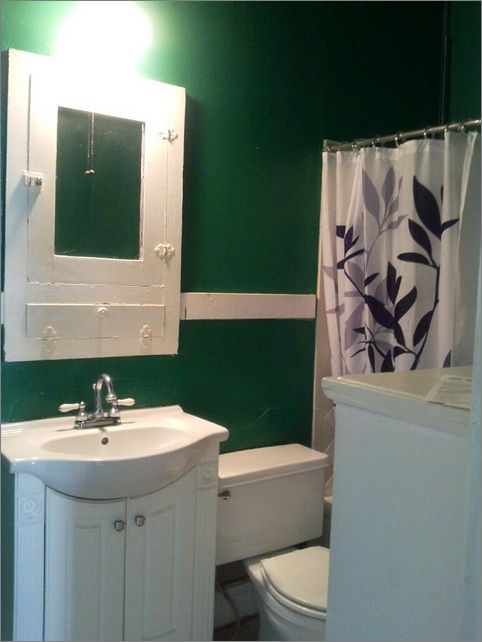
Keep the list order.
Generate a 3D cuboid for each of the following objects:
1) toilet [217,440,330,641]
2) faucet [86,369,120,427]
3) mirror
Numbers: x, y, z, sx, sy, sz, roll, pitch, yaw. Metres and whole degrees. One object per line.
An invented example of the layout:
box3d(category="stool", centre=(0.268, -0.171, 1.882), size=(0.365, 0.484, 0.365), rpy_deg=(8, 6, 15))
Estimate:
box3d(category="toilet", centre=(0.063, 0.636, 2.193), size=(0.440, 0.345, 0.302), rpy_deg=(-5, 10, -15))
box3d(category="faucet", centre=(-0.414, 0.246, 1.823), size=(0.094, 0.150, 0.131), rpy_deg=(2, -11, -25))
box3d(category="mirror", centre=(-0.441, -0.405, 1.863), size=(0.269, 0.010, 0.506), rpy_deg=(2, -46, -12))
